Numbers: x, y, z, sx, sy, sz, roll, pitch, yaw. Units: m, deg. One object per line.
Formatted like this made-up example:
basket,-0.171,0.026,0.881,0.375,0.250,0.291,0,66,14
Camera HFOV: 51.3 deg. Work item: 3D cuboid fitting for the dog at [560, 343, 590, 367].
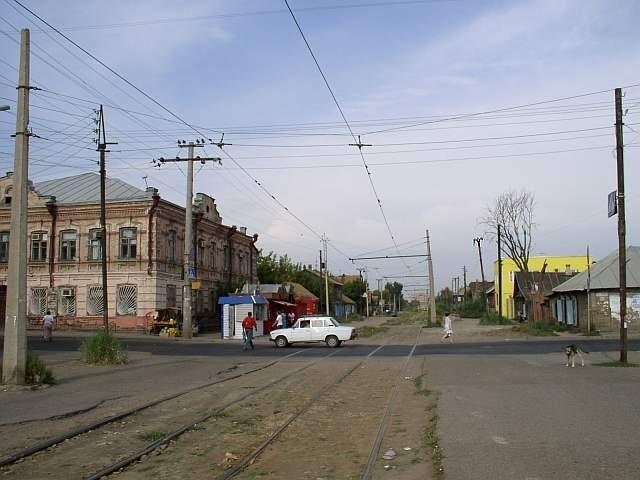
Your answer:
dog,9.517,4.366,24.992,0.648,1.111,2.571,-5,-14,33

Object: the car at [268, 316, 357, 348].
car,-0.262,5.056,36.697,3.911,1.436,1.873,0,-7,10
